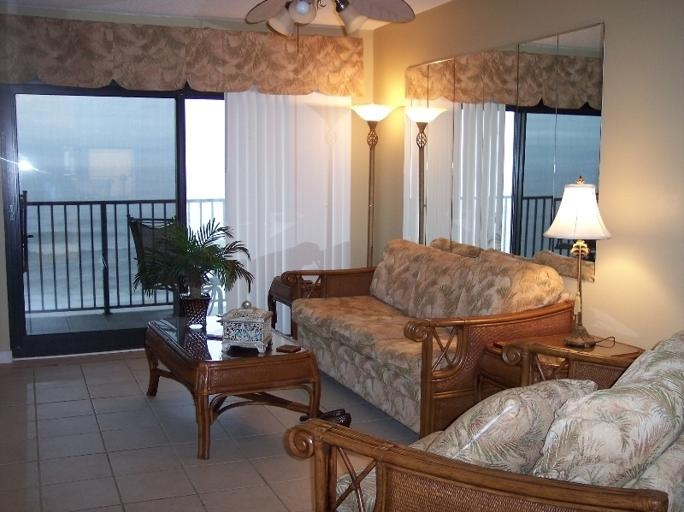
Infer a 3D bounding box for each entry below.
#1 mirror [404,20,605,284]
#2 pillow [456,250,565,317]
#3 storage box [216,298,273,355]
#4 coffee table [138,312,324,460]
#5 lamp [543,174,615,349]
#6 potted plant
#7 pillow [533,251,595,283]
[{"bbox_3d":[1.225,-0.774,3.909,0.046,1.563,2.203,-2,6,-28],"label":"mirror"},{"bbox_3d":[1.086,0.205,3.534,0.198,0.479,0.508,29,-12,-29],"label":"pillow"},{"bbox_3d":[-0.620,0.447,3.471,0.296,0.300,0.320,2,4,12],"label":"storage box"},{"bbox_3d":[-0.640,0.580,3.337,0.710,0.507,1.061,0,7,-28],"label":"coffee table"},{"bbox_3d":[1.424,0.007,3.174,0.338,0.963,0.515,6,8,35],"label":"lamp"},{"bbox_3d":[-1.341,0.211,4.715,1.031,1.072,1.047,1,7,-14],"label":"potted plant"},{"bbox_3d":[1.502,0.062,3.599,0.110,0.112,0.402,11,9,-31],"label":"pillow"}]
